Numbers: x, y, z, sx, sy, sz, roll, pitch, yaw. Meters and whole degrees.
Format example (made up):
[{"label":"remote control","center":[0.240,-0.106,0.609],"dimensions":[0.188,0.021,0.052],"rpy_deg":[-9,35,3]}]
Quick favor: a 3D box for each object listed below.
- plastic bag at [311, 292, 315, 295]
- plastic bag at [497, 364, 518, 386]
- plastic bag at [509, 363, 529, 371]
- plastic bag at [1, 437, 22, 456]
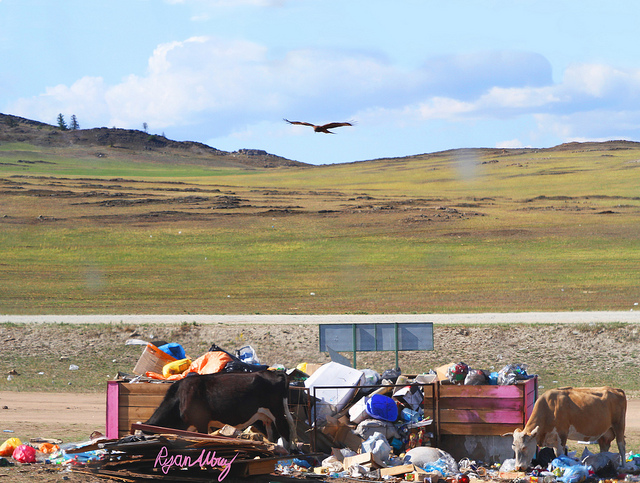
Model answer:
[{"label":"plastic bag","center":[-0.781,6.261,201.335],"dimensions":[0.353,0.177,0.543],"rpy_deg":[-2,-1,0]},{"label":"plastic bag","center":[18.192,13.071,172.516],"dimensions":[1.051,1.482,0.761],"rpy_deg":[33,-27,23]},{"label":"plastic bag","center":[20.368,12.768,181.523],"dimensions":[1.598,0.433,1.215],"rpy_deg":[15,-5,-24]},{"label":"plastic bag","center":[-29.789,19.564,171.088],"dimensions":[1.421,1.822,0.811],"rpy_deg":[44,14,-23]}]
